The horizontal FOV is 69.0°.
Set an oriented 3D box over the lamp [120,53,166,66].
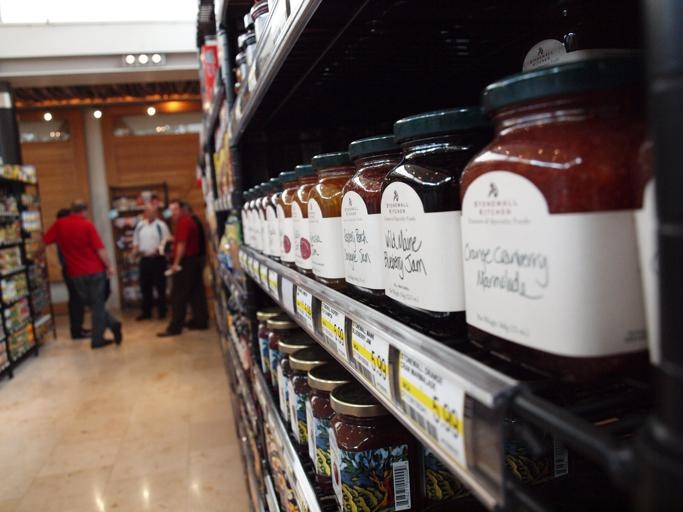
[{"bbox_3d":[-2.521,-2.478,6.316,0.252,0.072,0.254,-1,5,-13],"label":"lamp"}]
